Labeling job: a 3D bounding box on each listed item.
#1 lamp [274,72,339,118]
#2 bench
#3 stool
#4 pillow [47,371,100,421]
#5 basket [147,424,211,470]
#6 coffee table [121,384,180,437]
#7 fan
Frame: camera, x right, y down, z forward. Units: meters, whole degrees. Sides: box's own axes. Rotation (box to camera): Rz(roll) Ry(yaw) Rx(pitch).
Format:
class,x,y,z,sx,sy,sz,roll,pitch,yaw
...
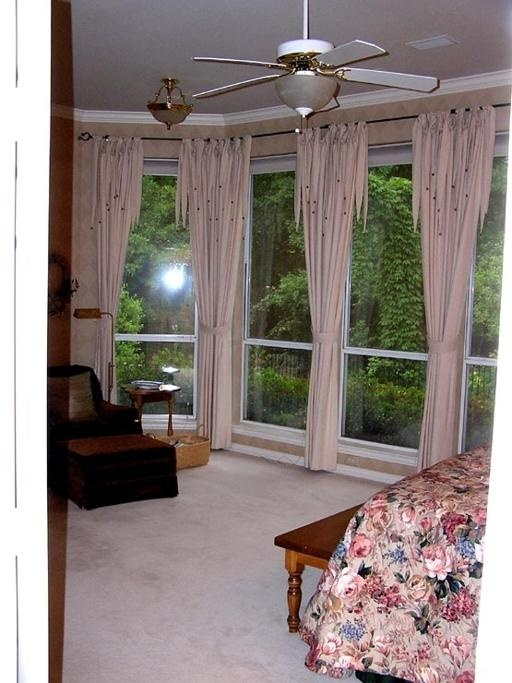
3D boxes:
class,x,y,z,sx,sy,sz,roll,pitch,yaw
lamp,0.202,-0.977,2.389,0.185,0.092,0.182,0,-7,2
bench,0.247,0.965,2.489,0.271,0.287,0.642,2,6,30
stool,-0.951,0.890,4.247,0.536,0.266,0.527,-1,7,-8
pillow,-1.489,0.455,4.838,0.138,0.443,0.478,-22,-10,41
basket,-0.668,0.961,5.421,0.400,0.187,0.506,0,0,-34
coffee table,-0.991,0.575,5.699,0.562,0.526,0.557,-2,4,-33
fan,0.220,-1.079,2.316,0.904,0.177,0.561,3,3,22
